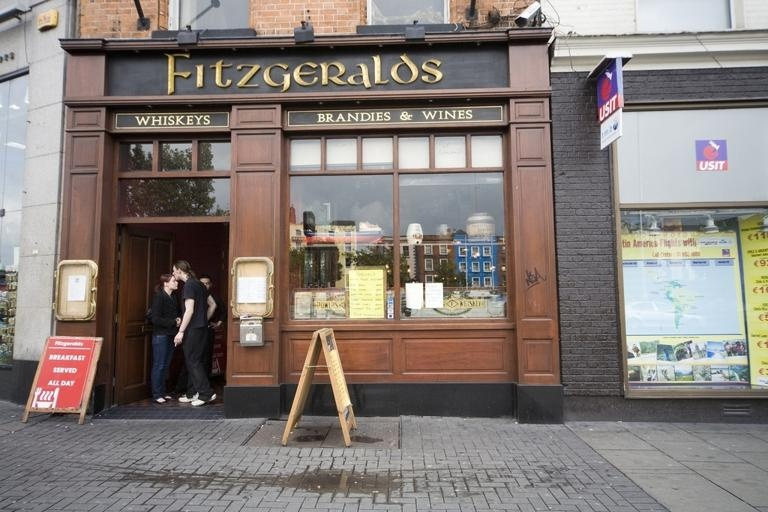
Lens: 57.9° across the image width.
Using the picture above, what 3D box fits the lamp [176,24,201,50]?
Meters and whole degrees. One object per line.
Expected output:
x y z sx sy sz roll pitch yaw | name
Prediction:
-3.513 -3.891 12.442 0.497 0.436 0.351 1 8 5 | lamp

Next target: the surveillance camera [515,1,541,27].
2.562 -4.257 12.264 0.301 0.585 0.195 53 -12 -32 | surveillance camera

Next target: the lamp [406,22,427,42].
0.547 -4.018 12.353 0.363 0.363 0.177 -2 -3 2 | lamp

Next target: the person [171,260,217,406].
-3.546 1.434 12.984 0.742 2.664 0.693 -1 -3 -14 | person

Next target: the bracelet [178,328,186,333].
-3.709 1.372 12.697 0.100 0.056 0.115 -4 -7 1 | bracelet

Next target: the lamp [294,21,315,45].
-1.423 -3.989 12.520 0.414 0.373 0.384 1 -22 -2 | lamp

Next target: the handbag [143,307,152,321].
-4.459 1.103 13.061 0.124 0.232 0.326 -1 -2 -21 | handbag
